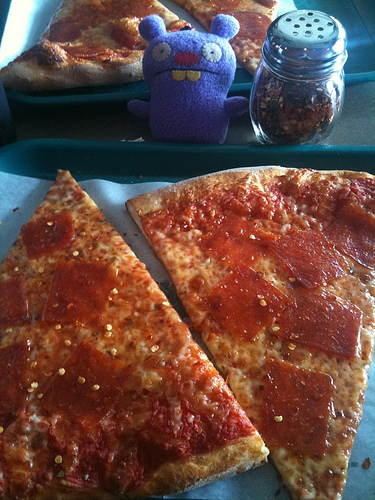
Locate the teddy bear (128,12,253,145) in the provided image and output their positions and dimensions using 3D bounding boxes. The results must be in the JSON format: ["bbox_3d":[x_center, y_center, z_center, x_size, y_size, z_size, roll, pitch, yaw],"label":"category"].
[{"bbox_3d":[0.022,-0.555,1.658,0.324,0.362,0.303,-6,47,-12],"label":"teddy bear"}]
